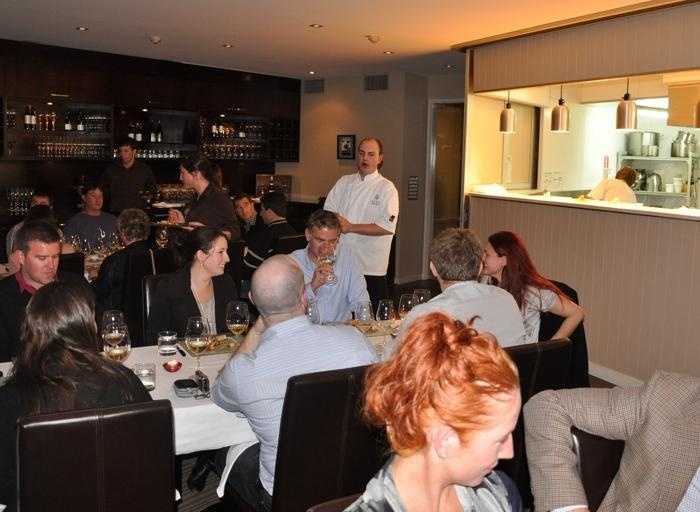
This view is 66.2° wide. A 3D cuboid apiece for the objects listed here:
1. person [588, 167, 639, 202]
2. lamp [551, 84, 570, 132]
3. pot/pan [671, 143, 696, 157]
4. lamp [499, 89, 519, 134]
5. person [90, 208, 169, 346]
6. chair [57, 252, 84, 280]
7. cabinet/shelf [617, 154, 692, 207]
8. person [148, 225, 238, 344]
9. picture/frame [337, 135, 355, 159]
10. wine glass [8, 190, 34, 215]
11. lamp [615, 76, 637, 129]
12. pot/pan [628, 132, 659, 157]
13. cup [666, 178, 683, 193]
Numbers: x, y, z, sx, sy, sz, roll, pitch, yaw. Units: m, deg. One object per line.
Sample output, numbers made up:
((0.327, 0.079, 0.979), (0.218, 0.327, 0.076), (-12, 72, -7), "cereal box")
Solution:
((3.360, -0.911, 6.887), (0.492, 0.432, 0.958), (5, 10, 34), "person")
((2.303, -1.554, 5.920), (0.174, 0.336, 0.392), (3, 9, 22), "lamp")
((4.929, -1.562, 7.984), (0.226, 0.154, 0.234), (6, 9, 34), "pot/pan")
((1.853, -1.697, 6.315), (0.163, 0.522, 0.913), (2, 9, 16), "lamp")
((-1.661, 0.239, 4.233), (0.519, 1.480, 0.501), (-11, 41, -25), "person")
((-1.889, 0.074, 3.626), (0.124, 0.186, 0.123), (-4, 18, -39), "chair")
((4.498, -1.075, 7.871), (1.040, 1.077, 0.353), (4, 5, 42), "cabinet/shelf")
((-0.923, 0.284, 3.273), (0.552, 0.926, 0.389), (-9, 23, -36), "person")
((-0.062, -1.728, 8.523), (0.362, 0.434, 0.032), (4, 5, 38), "picture/frame")
((-4.200, -0.689, 6.856), (0.287, 0.345, 0.142), (-6, 10, -32), "wine glass")
((3.108, -1.708, 6.042), (0.173, 0.627, 1.492), (3, 9, 27), "lamp")
((4.731, -1.802, 8.711), (0.330, 0.323, 0.426), (-4, 6, -45), "pot/pan")
((4.849, -1.054, 8.037), (0.240, 0.249, 0.165), (-2, 6, -18), "cup")
